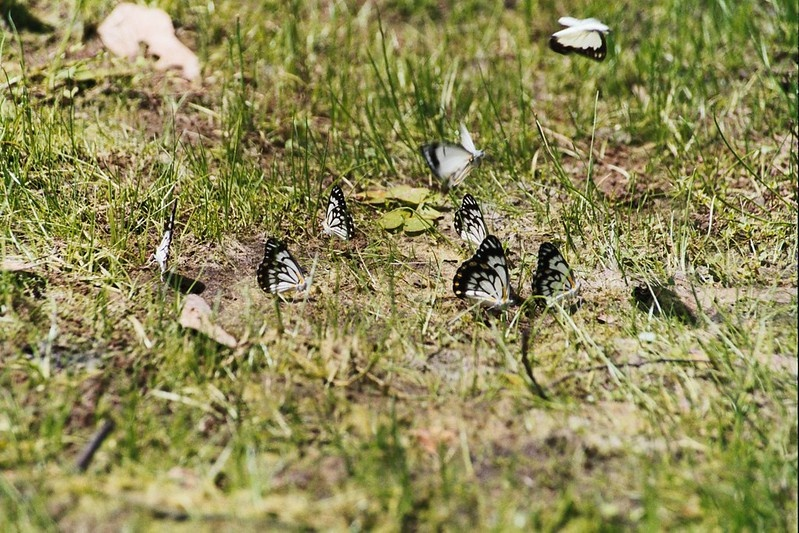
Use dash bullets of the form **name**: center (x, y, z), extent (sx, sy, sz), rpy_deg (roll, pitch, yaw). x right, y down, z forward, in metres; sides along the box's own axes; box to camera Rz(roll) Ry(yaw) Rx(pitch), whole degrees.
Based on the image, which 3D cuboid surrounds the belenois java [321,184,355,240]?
- **belenois java**: center (-0.367, -0.309, 4.990), extent (0.136, 0.282, 0.268), rpy_deg (8, -63, -31)

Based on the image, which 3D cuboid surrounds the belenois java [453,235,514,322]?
- **belenois java**: center (0.452, 0.074, 4.676), extent (0.376, 0.383, 0.204), rpy_deg (-14, -10, -46)

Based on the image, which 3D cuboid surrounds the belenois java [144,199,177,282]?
- **belenois java**: center (-1.261, -0.132, 4.624), extent (0.227, 0.146, 0.362), rpy_deg (4, -66, -24)
